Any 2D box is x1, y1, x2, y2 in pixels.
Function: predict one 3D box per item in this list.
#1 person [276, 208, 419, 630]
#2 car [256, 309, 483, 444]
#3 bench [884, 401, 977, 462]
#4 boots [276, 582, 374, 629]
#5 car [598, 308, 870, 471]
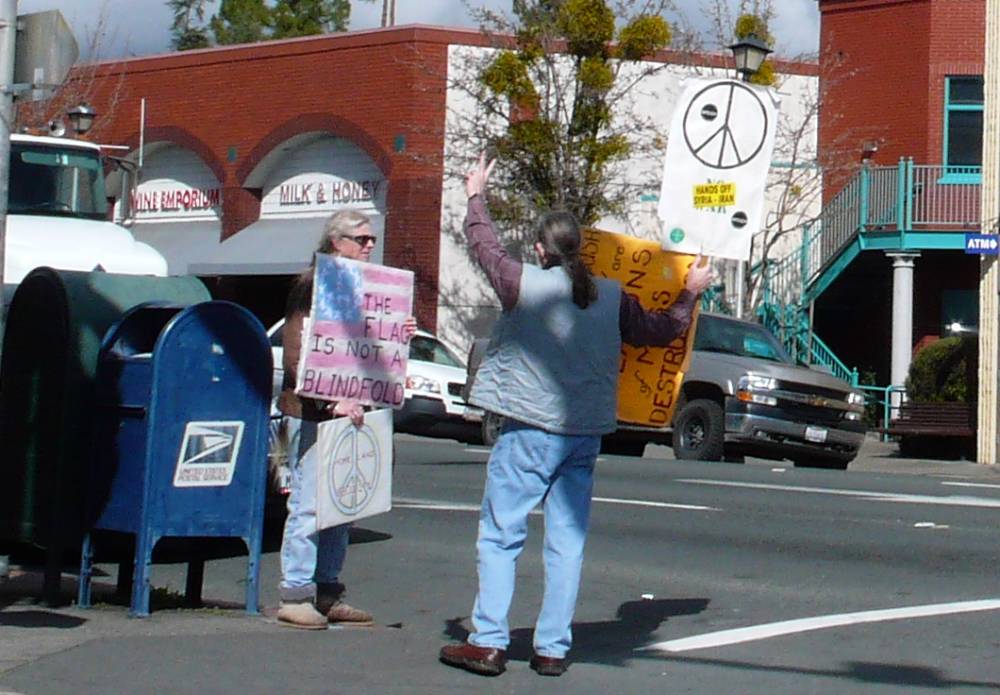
[{"bbox_3d":[-1.150,0.450,7.577,0.635,2.697,0.504,0,2,-35],"label":"person"},{"bbox_3d":[-1.700,0.559,20.002,1.940,1.716,3.466,3,-4,-35],"label":"car"},{"bbox_3d":[7.234,1.391,19.445,0.638,0.822,1.392,0,0,-42],"label":"bench"},{"bbox_3d":[-1.151,1.672,7.495,0.651,0.285,0.222,-1,1,-20],"label":"boots"},{"bbox_3d":[3.353,0.716,18.859,2.823,2.385,5.114,9,-5,-25],"label":"car"}]
